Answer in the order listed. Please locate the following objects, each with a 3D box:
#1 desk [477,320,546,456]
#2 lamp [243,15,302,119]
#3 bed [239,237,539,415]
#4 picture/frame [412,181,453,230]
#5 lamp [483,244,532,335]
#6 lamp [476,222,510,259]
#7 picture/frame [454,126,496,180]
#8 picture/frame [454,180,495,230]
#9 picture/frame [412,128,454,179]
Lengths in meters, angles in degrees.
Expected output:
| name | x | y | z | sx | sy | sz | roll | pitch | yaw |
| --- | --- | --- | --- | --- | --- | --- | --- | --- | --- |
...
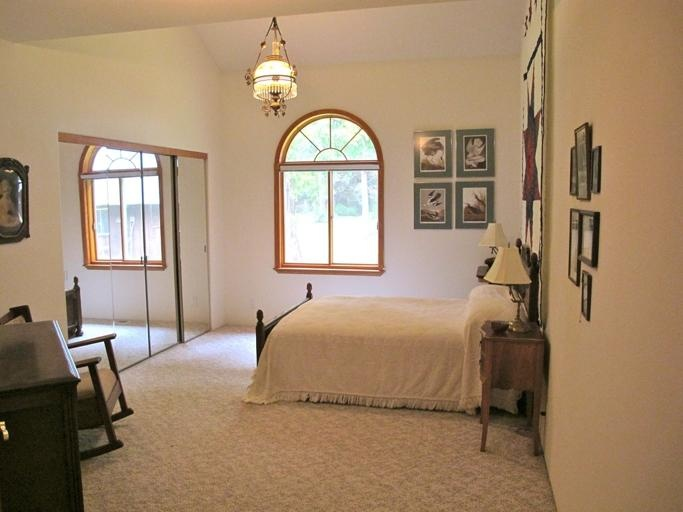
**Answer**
| name | x | y | z | sx | sy | sz | roll | pitch | yaw |
| --- | --- | --- | --- | --- | --- | --- | --- | --- | --- |
| desk | 1.283 | 0.880 | 4.210 | 0.514 | 0.972 | 0.782 | 2 | 22 | 17 |
| lamp | -0.609 | -1.764 | 4.850 | 0.426 | 0.966 | 0.444 | -1 | 5 | 3 |
| bed | 0.262 | 0.694 | 4.869 | 1.763 | 0.690 | 1.553 | 0 | 7 | 8 |
| picture/frame | 1.180 | -0.654 | 6.940 | 0.461 | 0.629 | 0.020 | 1 | -22 | 10 |
| lamp | 1.265 | 0.206 | 3.972 | 0.318 | 0.666 | 0.331 | -15 | 15 | -25 |
| lamp | 1.692 | -0.165 | 5.913 | 0.251 | 0.329 | 0.278 | 3 | -1 | 27 |
| picture/frame | 1.701 | -1.318 | 6.751 | 0.586 | 0.846 | 0.026 | 0 | 3 | 16 |
| picture/frame | 1.694 | -0.642 | 6.824 | 0.468 | 0.665 | 0.024 | 1 | -18 | 11 |
| picture/frame | 1.194 | -1.327 | 6.879 | 0.563 | 0.783 | 0.025 | 0 | 4 | 8 |
